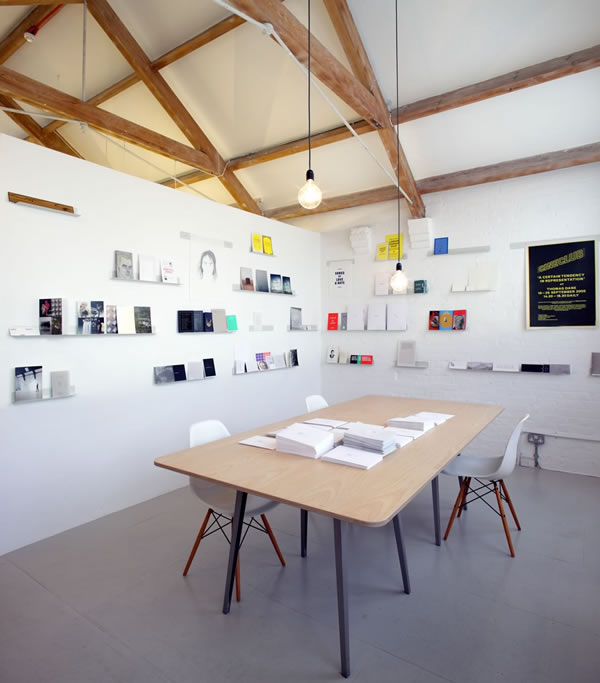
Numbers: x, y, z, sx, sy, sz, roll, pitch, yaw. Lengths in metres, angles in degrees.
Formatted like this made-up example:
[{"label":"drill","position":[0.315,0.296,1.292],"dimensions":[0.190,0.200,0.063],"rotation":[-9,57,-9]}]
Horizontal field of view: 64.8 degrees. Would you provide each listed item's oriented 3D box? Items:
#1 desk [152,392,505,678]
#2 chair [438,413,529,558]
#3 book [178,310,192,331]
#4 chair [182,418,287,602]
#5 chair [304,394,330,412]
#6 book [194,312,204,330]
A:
[{"label":"desk","position":[0.403,0.858,2.814],"dimensions":[1.182,0.753,2.351],"rotation":[1,3,33]},{"label":"chair","position":[1.129,0.840,2.906],"dimensions":[0.453,0.798,0.409],"rotation":[2,7,44]},{"label":"book","position":[-0.949,-0.168,3.855],"dimensions":[0.079,0.173,0.157],"rotation":[0,-1,29]},{"label":"chair","position":[-0.354,0.832,2.497],"dimensions":[0.431,0.775,0.488],"rotation":[-1,2,-38]},{"label":"chair","position":[0.111,0.460,3.498],"dimensions":[0.122,0.194,0.132],"rotation":[-4,3,-35]},{"label":"book","position":[-0.858,-0.166,3.976],"dimensions":[0.029,0.170,0.129],"rotation":[1,3,20]}]
